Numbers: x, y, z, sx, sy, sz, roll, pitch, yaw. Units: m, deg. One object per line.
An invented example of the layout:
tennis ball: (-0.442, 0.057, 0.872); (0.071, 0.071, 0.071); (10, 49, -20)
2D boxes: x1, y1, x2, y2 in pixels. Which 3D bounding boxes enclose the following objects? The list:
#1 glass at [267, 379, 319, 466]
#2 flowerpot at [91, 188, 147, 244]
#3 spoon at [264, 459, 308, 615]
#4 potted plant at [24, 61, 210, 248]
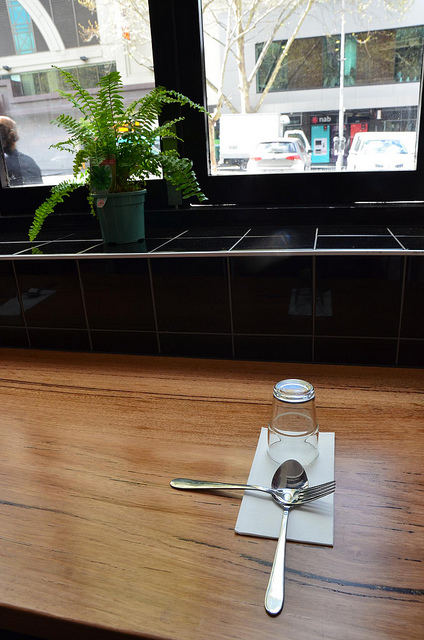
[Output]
glass: (0.099, 0.130, 0.539); (0.064, 0.091, 0.064); (-9, 33, -15)
flowerpot: (-0.223, -0.258, 1.092); (0.122, 0.107, 0.137); (4, 18, 19)
spoon: (0.070, 0.191, 0.418); (0.026, 0.013, 0.168); (-19, 12, 19)
potted plant: (-0.200, -0.381, 1.101); (0.387, 0.362, 0.313); (10, 18, 40)
